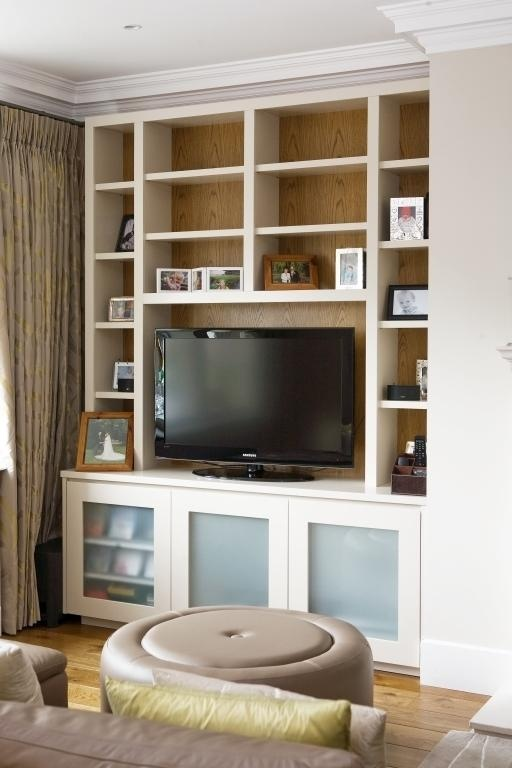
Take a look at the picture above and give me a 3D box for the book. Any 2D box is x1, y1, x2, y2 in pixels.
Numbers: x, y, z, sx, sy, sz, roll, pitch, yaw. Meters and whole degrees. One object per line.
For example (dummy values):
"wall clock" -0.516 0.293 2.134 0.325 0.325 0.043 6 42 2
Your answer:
"book" -0.754 0.969 3.547 0.500 0.529 0.187 0 -3 19

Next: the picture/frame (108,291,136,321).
"picture/frame" -0.823 -0.449 3.838 0.203 0.166 0.129 4 3 36

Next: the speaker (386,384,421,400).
"speaker" 0.745 0.048 3.200 0.157 0.077 0.084 0 0 8

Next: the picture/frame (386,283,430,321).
"picture/frame" 0.770 -0.404 3.169 0.190 0.185 0.016 2 -3 20

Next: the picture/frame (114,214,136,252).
"picture/frame" -0.779 -0.924 3.902 0.046 0.219 0.178 7 0 -37

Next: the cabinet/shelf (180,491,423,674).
"cabinet/shelf" 0.263 0.848 2.747 0.782 0.537 0.238 0 -3 20

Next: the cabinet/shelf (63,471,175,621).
"cabinet/shelf" -0.736 0.967 3.683 0.709 0.839 0.311 1 0 19

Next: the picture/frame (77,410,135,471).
"picture/frame" -0.880 0.339 3.703 0.316 0.388 0.010 1 24 -18

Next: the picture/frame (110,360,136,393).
"picture/frame" -0.816 -0.045 3.900 0.158 0.246 0.161 0 -7 4

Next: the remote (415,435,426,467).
"remote" 0.802 0.331 3.029 0.050 0.145 0.115 0 -1 -9

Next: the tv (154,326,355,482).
"tv" 0.029 0.105 3.480 0.756 0.603 0.212 1 -2 19
